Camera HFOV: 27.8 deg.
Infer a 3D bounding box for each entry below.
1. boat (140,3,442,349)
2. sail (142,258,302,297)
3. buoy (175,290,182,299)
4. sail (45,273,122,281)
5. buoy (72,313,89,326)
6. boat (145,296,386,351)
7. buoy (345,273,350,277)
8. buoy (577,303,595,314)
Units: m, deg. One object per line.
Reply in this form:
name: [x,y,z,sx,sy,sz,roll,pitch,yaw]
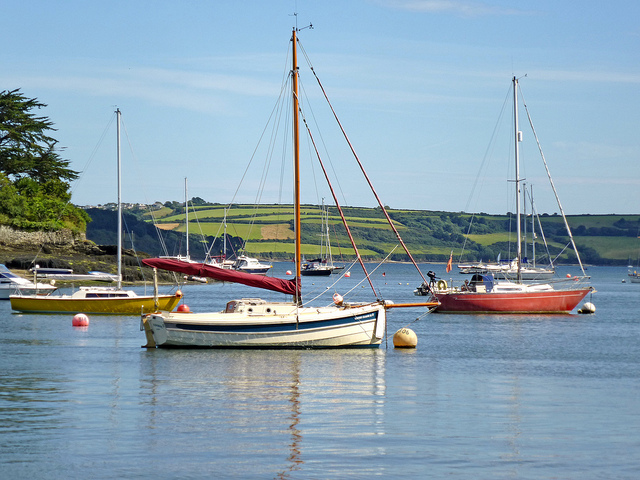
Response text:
boat: [-1.646,-2.019,68.644,16.999,15.347,3.932,-1,5,-9]
sail: [-5.289,1.721,67.748,8.262,1.007,1.195,10,-1,9]
buoy: [-9.005,3.457,81.756,0.576,0.526,0.545,-1,-5,5]
sail: [-16.664,2.661,91.080,5.214,0.589,0.818,1,-2,-1]
buoy: [-14.511,4.901,78.422,0.848,0.502,0.757,1,7,3]
boat: [-2.829,4.524,68.883,13.417,2.530,4.190,1,-4,-12]
buoy: [3.439,4.592,165.249,0.916,0.451,0.745,0,-1,-4]
buoy: [18.872,4.894,91.158,0.863,0.503,0.918,-2,-3,-9]
